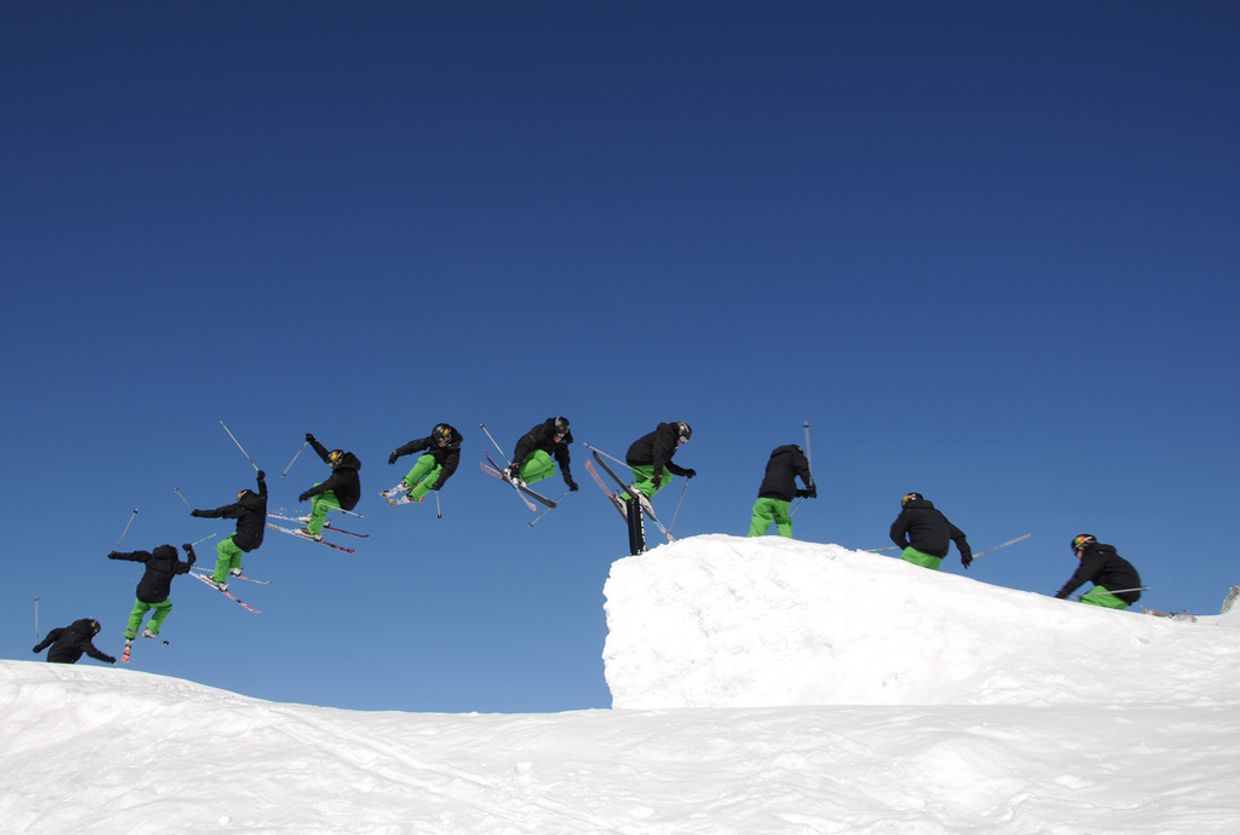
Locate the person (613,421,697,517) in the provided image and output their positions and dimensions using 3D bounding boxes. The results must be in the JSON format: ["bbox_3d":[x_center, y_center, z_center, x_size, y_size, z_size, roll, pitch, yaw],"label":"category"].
[{"bbox_3d":[0.587,1.043,18.718,1.394,1.907,0.975,20,-35,6],"label":"person"}]

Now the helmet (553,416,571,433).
[{"bbox_3d":[-1.123,0.158,18.148,0.293,0.349,0.267,7,5,39],"label":"helmet"}]

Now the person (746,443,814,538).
[{"bbox_3d":[3.388,1.645,20.306,0.964,2.193,1.396,6,-22,-5],"label":"person"}]

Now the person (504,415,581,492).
[{"bbox_3d":[-1.585,0.741,19.016,1.551,0.711,1.050,-30,-67,16],"label":"person"}]

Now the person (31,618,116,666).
[{"bbox_3d":[-10.678,4.369,19.015,0.987,1.063,2.761,15,-24,-26],"label":"person"}]
